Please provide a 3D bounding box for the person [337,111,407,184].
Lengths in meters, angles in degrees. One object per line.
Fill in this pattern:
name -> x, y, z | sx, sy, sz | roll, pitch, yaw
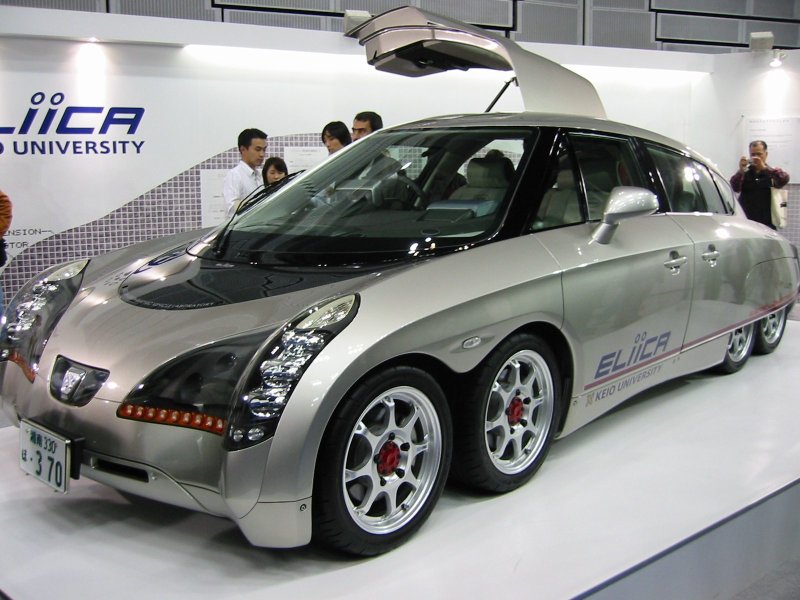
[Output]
person -> -0.285, -1.380, 4.709 | 0.563, 0.711, 0.319 | 34, 50, 31
